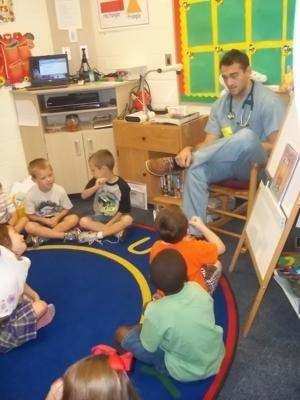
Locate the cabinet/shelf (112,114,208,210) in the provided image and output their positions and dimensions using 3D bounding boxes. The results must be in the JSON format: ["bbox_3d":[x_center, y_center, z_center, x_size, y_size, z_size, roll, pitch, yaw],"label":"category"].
[{"bbox_3d":[0.130,-0.431,3.381,0.972,0.931,0.537,16,32,40],"label":"cabinet/shelf"}]

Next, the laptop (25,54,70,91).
[{"bbox_3d":[-1.145,-1.387,3.431,0.433,0.310,0.350,-12,56,-18],"label":"laptop"}]

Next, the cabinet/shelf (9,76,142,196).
[{"bbox_3d":[-0.929,-0.795,3.701,1.136,1.161,0.597,-2,33,0],"label":"cabinet/shelf"}]

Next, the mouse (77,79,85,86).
[{"bbox_3d":[-0.819,-1.391,3.585,0.111,0.080,0.105,-3,23,-10],"label":"mouse"}]

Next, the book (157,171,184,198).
[{"bbox_3d":[0.256,-0.183,3.188,0.244,0.318,0.226,10,19,33],"label":"book"}]

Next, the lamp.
[{"bbox_3d":[-0.019,-1.111,3.184,0.322,0.521,0.494,13,27,25],"label":"lamp"}]

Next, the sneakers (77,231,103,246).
[{"bbox_3d":[-0.540,0.337,2.665,0.253,0.095,0.108,3,4,1],"label":"sneakers"}]

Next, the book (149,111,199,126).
[{"bbox_3d":[0.253,-0.799,3.002,0.274,0.066,0.257,12,25,30],"label":"book"}]

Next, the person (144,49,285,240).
[{"bbox_3d":[0.645,-0.474,2.461,0.739,1.305,1.018,10,31,25],"label":"person"}]
